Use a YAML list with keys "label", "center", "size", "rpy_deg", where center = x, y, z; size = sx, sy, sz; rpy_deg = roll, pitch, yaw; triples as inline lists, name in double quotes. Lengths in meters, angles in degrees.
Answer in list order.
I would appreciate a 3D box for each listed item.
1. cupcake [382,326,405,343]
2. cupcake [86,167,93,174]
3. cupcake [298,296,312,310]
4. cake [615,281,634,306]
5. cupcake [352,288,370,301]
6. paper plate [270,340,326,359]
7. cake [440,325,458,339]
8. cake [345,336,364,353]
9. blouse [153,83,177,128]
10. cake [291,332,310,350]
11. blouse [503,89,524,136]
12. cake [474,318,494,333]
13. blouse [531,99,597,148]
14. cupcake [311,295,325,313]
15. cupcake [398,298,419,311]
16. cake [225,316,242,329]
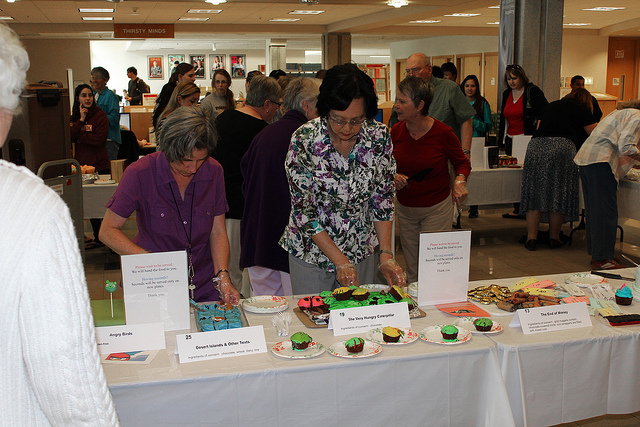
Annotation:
- label: "cupcake"
  center: [0.286, 0.494, 1.903]
  size: [0.067, 0.038, 0.060]
  rpy_deg: [2, 15, 9]
- label: "cupcake"
  center: [-2.598, -0.489, 5.233]
  size: [0.059, 0.058, 0.059]
  rpy_deg: [0, 1, -9]
- label: "cupcake"
  center: [-0.073, 0.412, 2.166]
  size: [0.061, 0.056, 0.086]
  rpy_deg: [-1, 15, -3]
- label: "cake"
  center: [1.459, 0.389, 2.250]
  size: [0.082, 0.109, 0.082]
  rpy_deg: [-1, 6, -1]
- label: "cupcake"
  center: [0.177, 0.362, 2.095]
  size: [0.072, 0.047, 0.036]
  rpy_deg: [2, 15, 10]
- label: "paper plate"
  center: [-0.089, 0.529, 1.823]
  size: [0.213, 0.020, 0.138]
  rpy_deg: [0, 15, 2]
- label: "cake"
  center: [0.520, 0.479, 1.886]
  size: [0.050, 0.035, 0.049]
  rpy_deg: [-1, 7, -12]
- label: "cake"
  center: [0.133, 0.499, 1.792]
  size: [0.051, 0.037, 0.055]
  rpy_deg: [-1, 3, -4]
- label: "blouse"
  center: [-1.859, -1.225, 5.272]
  size: [0.117, 0.458, 0.490]
  rpy_deg: [18, 17, 27]
- label: "cake"
  center: [-0.080, 0.494, 1.817]
  size: [0.060, 0.048, 0.060]
  rpy_deg: [1, 4, -4]
- label: "blouse"
  center: [2.554, -1.339, 6.130]
  size: [0.301, 0.511, 0.317]
  rpy_deg: [-2, 7, 4]
- label: "cake"
  center: [0.682, 0.463, 1.950]
  size: [0.056, 0.041, 0.056]
  rpy_deg: [-5, 16, -4]
- label: "blouse"
  center: [2.724, -1.021, 5.312]
  size: [0.425, 0.532, 0.519]
  rpy_deg: [0, 16, -3]
- label: "cupcake"
  center: [-0.008, 0.411, 2.131]
  size: [0.073, 0.047, 0.072]
  rpy_deg: [6, 16, 23]
- label: "cupcake"
  center: [0.416, 0.406, 2.153]
  size: [0.059, 0.046, 0.067]
  rpy_deg: [5, 10, 5]
- label: "cake"
  center: [-0.374, 0.462, 1.999]
  size: [0.044, 0.017, 0.045]
  rpy_deg: [13, 13, 23]
